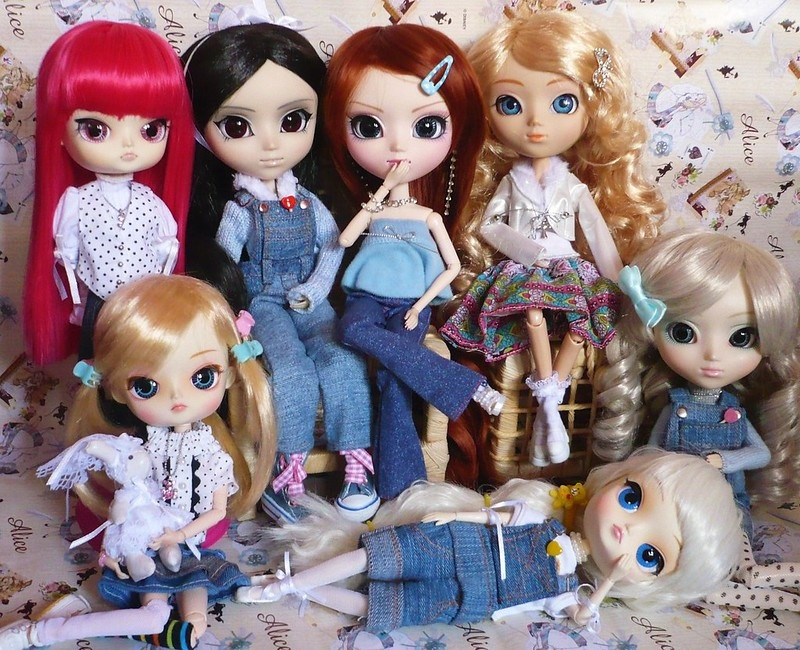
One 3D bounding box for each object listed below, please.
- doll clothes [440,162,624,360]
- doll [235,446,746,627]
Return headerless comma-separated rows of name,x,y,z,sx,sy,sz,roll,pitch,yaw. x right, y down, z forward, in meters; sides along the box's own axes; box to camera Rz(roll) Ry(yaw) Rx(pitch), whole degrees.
doll clothes,0.508,-0.264,2.812,0.706,0.733,0.519,-5,17,-9
doll,0.202,0.758,2.593,1.659,0.449,0.583,-6,49,-5
